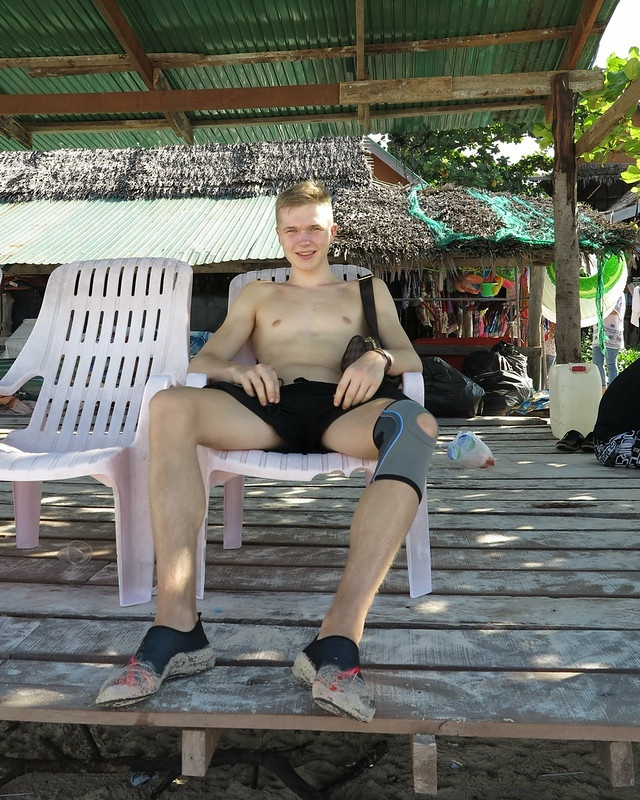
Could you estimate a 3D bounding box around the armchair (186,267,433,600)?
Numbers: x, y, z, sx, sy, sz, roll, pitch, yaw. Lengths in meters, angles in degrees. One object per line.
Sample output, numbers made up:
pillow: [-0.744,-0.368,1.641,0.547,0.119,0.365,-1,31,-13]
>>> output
armchair: [-0.061,0.048,2.027,0.838,0.978,0.806,2,13,-1]

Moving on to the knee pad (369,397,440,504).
knee pad: [0.224,0.129,1.518,0.165,0.101,0.244,-10,37,24]
